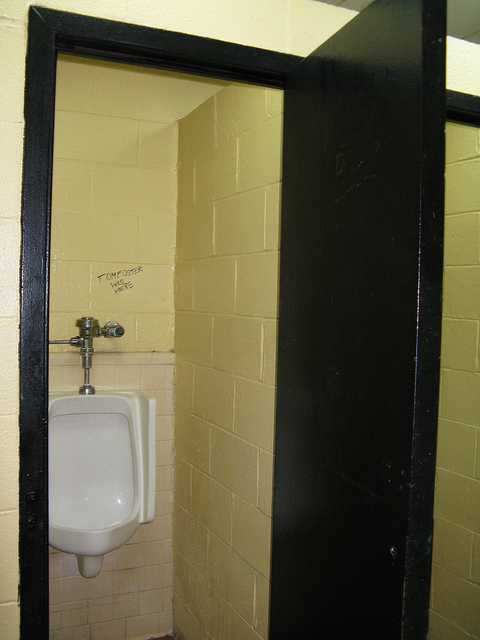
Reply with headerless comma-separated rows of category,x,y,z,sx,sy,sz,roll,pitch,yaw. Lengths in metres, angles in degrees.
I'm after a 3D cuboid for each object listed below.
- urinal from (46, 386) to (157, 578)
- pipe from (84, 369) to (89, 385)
urinal,-0.489,0.595,1.897,0.399,0.636,0.439,1,1,-27
pipe,-0.554,0.203,1.996,0.015,0.058,0.056,-1,4,-16
